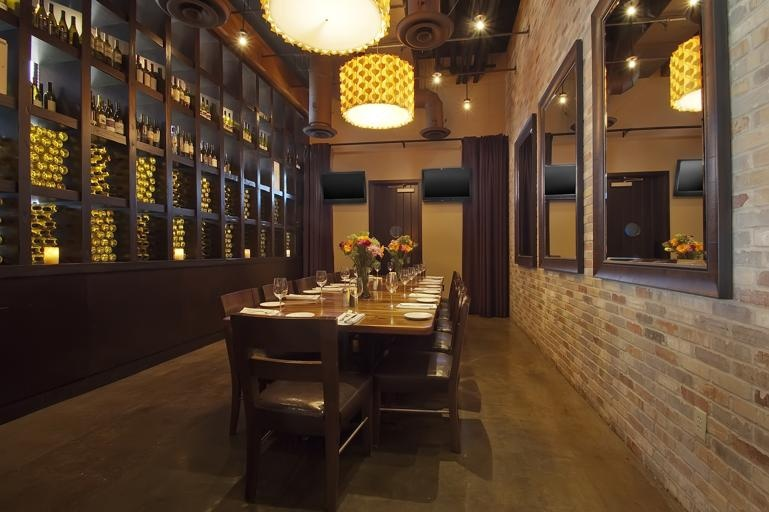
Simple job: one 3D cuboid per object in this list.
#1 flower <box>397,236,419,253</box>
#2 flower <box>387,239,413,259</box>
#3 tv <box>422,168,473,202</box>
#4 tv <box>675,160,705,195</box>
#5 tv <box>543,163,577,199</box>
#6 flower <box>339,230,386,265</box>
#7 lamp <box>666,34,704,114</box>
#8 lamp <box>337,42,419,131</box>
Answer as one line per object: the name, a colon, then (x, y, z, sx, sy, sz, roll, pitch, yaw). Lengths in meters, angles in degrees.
flower: (0.268, -0.145, 6.656, 0.269, 0.258, 0.278, 4, 0, 32)
flower: (0.224, -0.109, 6.655, 0.256, 0.247, 0.266, -6, -9, 24)
tv: (1.051, -1.222, 8.840, 0.835, 0.587, 0.035, -2, 2, 15)
tv: (2.111, -0.539, 3.557, 0.027, 0.297, 0.235, 6, -3, -41)
tv: (1.889, -0.804, 5.570, 0.534, 0.331, 0.042, -8, 1, -36)
flower: (-0.235, -0.065, 5.069, 0.387, 0.384, 0.413, 2, -3, 17)
lamp: (2.088, -1.323, 3.700, 0.305, 0.371, 0.319, -10, 22, 14)
lamp: (-0.080, -1.696, 5.454, 0.745, 0.509, 0.798, -1, -4, 12)
